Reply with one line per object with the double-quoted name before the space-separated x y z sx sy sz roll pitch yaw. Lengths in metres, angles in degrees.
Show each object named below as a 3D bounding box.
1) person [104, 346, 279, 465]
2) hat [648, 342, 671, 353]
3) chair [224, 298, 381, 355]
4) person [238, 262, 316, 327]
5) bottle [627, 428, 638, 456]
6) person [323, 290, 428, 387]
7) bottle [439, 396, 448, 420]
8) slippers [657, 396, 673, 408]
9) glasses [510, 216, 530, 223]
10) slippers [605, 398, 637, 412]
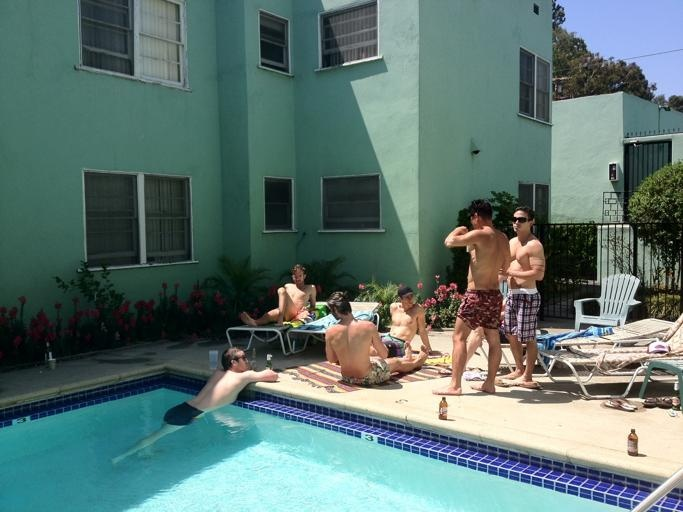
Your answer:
"person" -1.997 2.012 8.284 0.919 0.876 2.114 14 32 40
"hat" 4.350 1.265 8.163 0.261 0.083 0.301 0 4 30
"chair" -0.417 1.306 10.824 1.203 0.717 2.184 -3 -3 34
"person" -1.150 0.775 10.797 0.774 1.070 1.421 -2 -2 36
"bottle" 3.106 1.962 6.337 0.110 0.265 0.210 0 4 26
"person" 0.433 1.151 8.588 1.343 1.340 0.642 -5 5 -36
"bottle" 1.244 1.842 7.313 0.117 0.240 0.318 -1 4 9
"slippers" 4.073 1.838 7.470 0.120 0.051 0.119 -11 3 -37
"glasses" 2.473 -0.503 8.297 0.148 0.094 0.258 -4 4 -30
"slippers" 3.531 1.880 7.529 0.380 0.062 0.332 -1 4 25
